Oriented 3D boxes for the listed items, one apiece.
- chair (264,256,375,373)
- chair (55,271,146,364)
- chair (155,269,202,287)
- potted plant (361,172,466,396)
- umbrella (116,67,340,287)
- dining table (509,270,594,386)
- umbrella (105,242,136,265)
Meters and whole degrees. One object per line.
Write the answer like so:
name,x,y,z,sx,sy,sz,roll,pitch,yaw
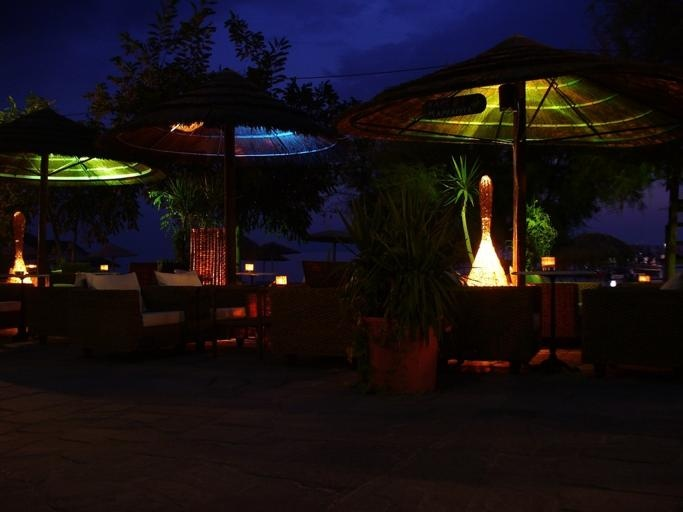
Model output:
chair,-0.139,0.569,7.314,1.242,1.140,1.268,-1,-4,3
chair,-2.843,0.717,7.570,1.305,1.076,0.950,2,3,42
chair,-2.251,0.313,8.845,0.382,0.217,0.861,-1,2,4
potted plant,0.567,0.294,5.658,0.908,1.763,0.505,-1,2,10
umbrella,-1.790,-1.196,9.777,3.091,3.188,2.981,-2,2,-20
dining table,2.277,0.717,6.952,0.891,1.048,0.891,0,-8,16
umbrella,-8.147,-0.118,23.694,0.936,0.495,0.996,1,-4,3
